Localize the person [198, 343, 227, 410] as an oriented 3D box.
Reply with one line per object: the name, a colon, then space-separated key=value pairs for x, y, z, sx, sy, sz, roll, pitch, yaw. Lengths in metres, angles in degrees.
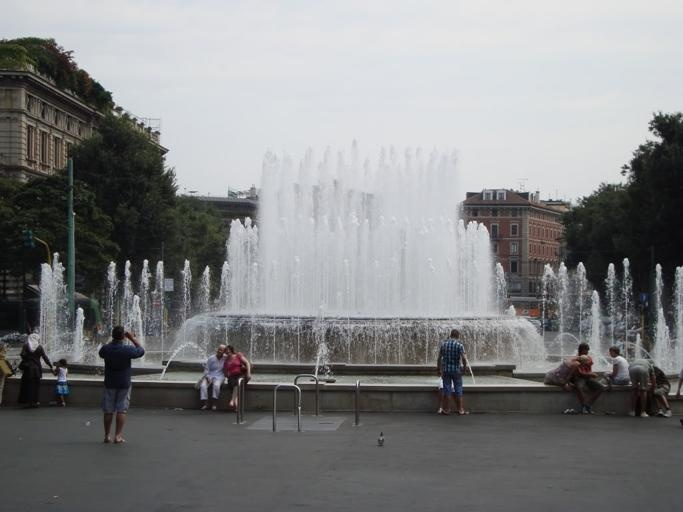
person: x=-3.885 y=3.649 z=42.615 sx=0.603 sy=2.007 sz=0.698 roll=2 pitch=4 yaw=-35

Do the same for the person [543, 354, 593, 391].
person: x=6.585 y=3.466 z=42.434 sx=1.212 sy=1.089 sz=1.138 roll=-2 pitch=0 yaw=-19

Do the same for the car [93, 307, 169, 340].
car: x=-11.859 y=3.097 z=83.081 sx=3.865 sy=1.799 sz=3.071 roll=6 pitch=-6 yaw=-38

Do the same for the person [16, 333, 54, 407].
person: x=-9.250 y=3.465 z=43.124 sx=0.723 sy=2.233 sz=1.089 roll=0 pitch=-1 yaw=-5

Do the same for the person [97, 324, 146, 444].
person: x=-6.022 y=3.511 z=39.055 sx=1.130 sy=3.317 sz=1.114 roll=0 pitch=0 yaw=-15

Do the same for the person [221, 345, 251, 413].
person: x=-3.154 y=3.610 z=42.327 sx=0.762 sy=1.882 sz=0.568 roll=-2 pitch=-6 yaw=8

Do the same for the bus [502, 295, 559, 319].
bus: x=12.936 y=3.545 z=97.832 sx=4.349 sy=2.120 sz=1.876 roll=-1 pitch=4 yaw=2

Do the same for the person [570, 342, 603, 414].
person: x=7.228 y=3.638 z=42.122 sx=0.893 sy=2.109 sz=0.754 roll=-2 pitch=-6 yaw=11
